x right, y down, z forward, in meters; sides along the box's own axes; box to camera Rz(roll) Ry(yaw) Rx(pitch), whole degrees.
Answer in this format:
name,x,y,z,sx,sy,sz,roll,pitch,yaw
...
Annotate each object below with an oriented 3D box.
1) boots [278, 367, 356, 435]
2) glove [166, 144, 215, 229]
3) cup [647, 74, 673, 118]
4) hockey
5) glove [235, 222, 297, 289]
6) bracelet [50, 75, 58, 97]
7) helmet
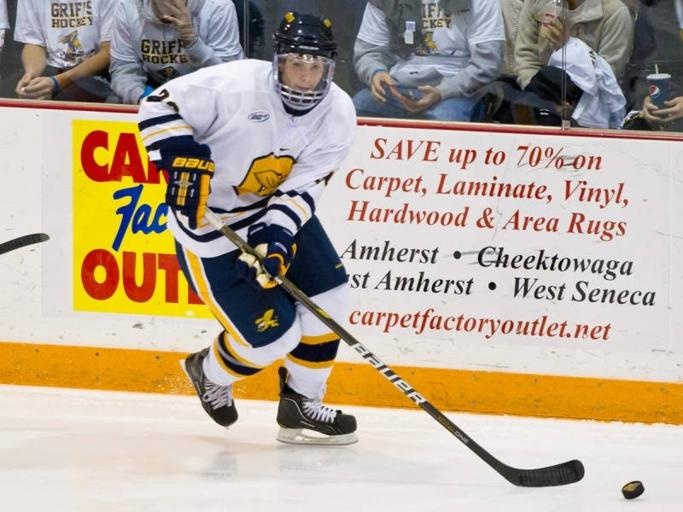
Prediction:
name,x,y,z,sx,sy,sz,roll,pitch,yaw
boots,-0.104,0.657,5.299,0.429,0.294,0.144,-2,8,32
glove,-0.611,-0.287,4.827,0.207,0.313,0.130,6,7,3
cup,1.500,-0.759,5.576,0.129,0.155,0.128,-2,8,0
hockey,0.270,0.393,5.346,1.761,0.147,0.250,40,26,26
glove,-0.306,-0.005,4.890,0.277,0.241,0.111,1,10,1
bracelet,-1.393,-0.821,5.762,0.036,0.086,0.064,0,14,-18
helmet,-0.168,-0.829,4.990,0.289,0.388,0.396,6,26,-12
